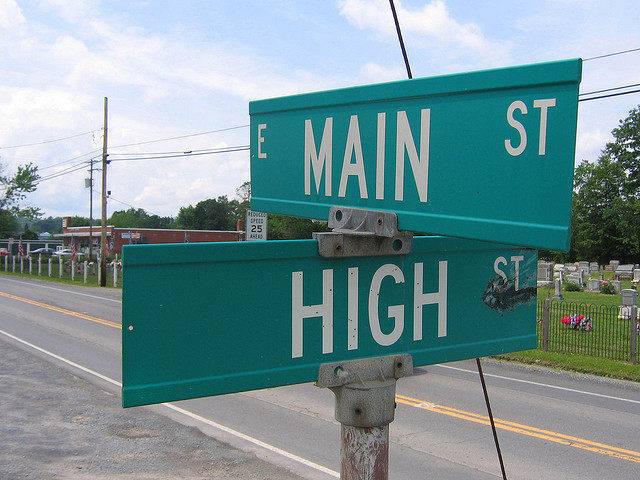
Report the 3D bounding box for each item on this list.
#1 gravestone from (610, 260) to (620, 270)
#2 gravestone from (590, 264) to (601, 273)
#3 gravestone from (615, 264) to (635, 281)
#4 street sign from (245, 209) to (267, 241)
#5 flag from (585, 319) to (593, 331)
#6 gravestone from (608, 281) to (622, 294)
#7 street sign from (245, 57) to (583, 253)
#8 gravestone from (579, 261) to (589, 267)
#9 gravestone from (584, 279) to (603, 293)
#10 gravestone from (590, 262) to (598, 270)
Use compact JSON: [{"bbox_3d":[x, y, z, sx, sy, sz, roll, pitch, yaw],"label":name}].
[{"bbox_3d":[23.998,2.052,55.967,0.467,0.730,0.703,-2,1,-12],"label":"gravestone"},{"bbox_3d":[20.099,2.093,50.234,0.831,0.689,0.724,0,4,26],"label":"gravestone"},{"bbox_3d":[20.623,2.140,46.310,1.191,1.004,1.219,2,6,38],"label":"gravestone"},{"bbox_3d":[-1.520,-0.349,16.418,0.097,1.060,0.811,-12,-14,40],"label":"street sign"},{"bbox_3d":[8.160,2.547,20.812,0.122,0.365,0.499,3,4,35],"label":"flag"},{"bbox_3d":[14.303,2.238,33.076,0.504,0.757,0.726,-2,0,-16],"label":"gravestone"},{"bbox_3d":[0.707,-0.630,5.187,2.346,1.369,0.176,2,4,17],"label":"street sign"},{"bbox_3d":[20.447,1.870,53.191,0.758,0.525,0.803,-1,-2,-9],"label":"gravestone"},{"bbox_3d":[13.432,2.236,33.531,0.542,0.436,0.528,-4,5,-44],"label":"gravestone"},{"bbox_3d":[20.740,1.905,51.848,0.416,0.536,0.417,3,10,18],"label":"gravestone"}]
